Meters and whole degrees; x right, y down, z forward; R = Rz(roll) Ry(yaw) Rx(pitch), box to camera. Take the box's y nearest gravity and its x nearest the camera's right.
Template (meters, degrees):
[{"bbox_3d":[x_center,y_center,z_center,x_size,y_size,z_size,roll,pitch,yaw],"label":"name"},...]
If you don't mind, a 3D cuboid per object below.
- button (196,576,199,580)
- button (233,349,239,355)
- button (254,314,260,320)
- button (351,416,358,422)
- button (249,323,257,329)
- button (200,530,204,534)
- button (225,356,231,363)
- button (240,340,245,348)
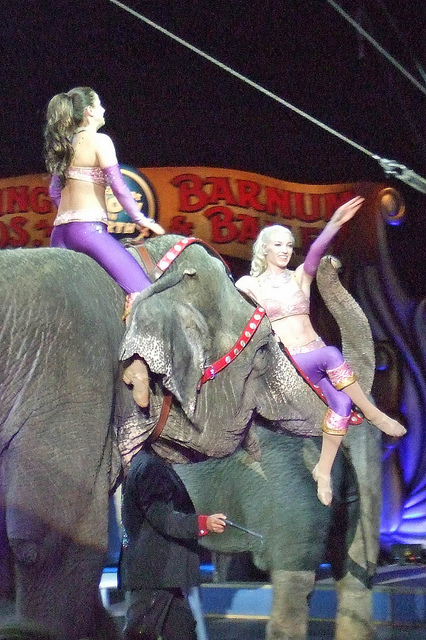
[{"bbox_3d":[-0.044,0.714,1.987,0.011,0.007,0.005,-1,-36,-2],"label":"button"},{"bbox_3d":[0.057,0.079,1.782,0.013,0.011,0.003,1,0,-25],"label":"button"},{"bbox_3d":[0.112,-0.008,1.851,0.015,0.012,0.003,-1,-13,-3],"label":"button"},{"bbox_3d":[0.427,0.304,2.185,0.020,0.010,0.016,7,14,-5],"label":"button"},{"bbox_3d":[0.099,0.014,1.829,0.018,0.015,0.004,-2,-1,-14],"label":"button"},{"bbox_3d":[-0.028,0.530,1.798,0.009,0.009,0.003,1,-1,-8],"label":"button"},{"bbox_3d":[0.035,0.097,1.771,0.019,0.016,0.004,0,-4,-11],"label":"button"},{"bbox_3d":[0.072,0.059,1.794,0.014,0.011,0.004,5,-14,-39],"label":"button"}]
